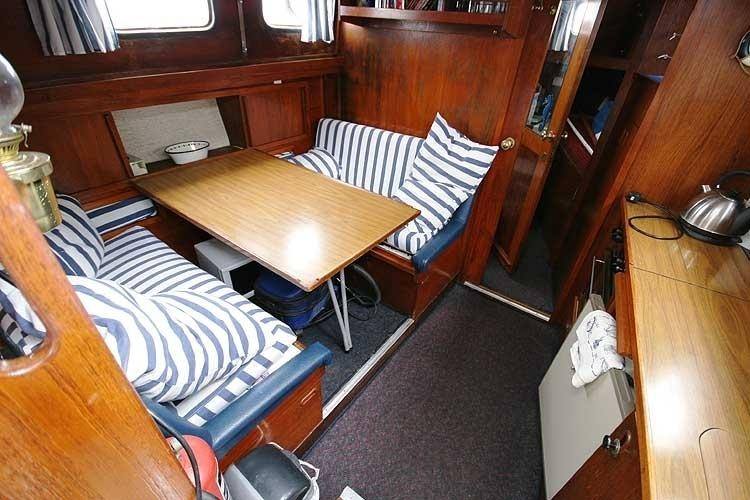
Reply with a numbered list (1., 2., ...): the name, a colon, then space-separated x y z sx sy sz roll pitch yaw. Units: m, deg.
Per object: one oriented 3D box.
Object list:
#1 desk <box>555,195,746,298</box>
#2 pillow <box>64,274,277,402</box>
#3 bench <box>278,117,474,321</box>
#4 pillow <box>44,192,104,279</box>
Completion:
1. desk: 1.558 0.026 2.651 0.747 0.809 0.441 4 51 43
2. pillow: -0.843 0.279 2.029 0.610 0.401 0.495 -26 48 -34
3. bench: -0.084 -0.506 3.314 1.602 0.852 0.792 24 35 31
4. pillow: -1.448 -0.069 2.247 0.215 0.192 0.503 -19 65 -26
